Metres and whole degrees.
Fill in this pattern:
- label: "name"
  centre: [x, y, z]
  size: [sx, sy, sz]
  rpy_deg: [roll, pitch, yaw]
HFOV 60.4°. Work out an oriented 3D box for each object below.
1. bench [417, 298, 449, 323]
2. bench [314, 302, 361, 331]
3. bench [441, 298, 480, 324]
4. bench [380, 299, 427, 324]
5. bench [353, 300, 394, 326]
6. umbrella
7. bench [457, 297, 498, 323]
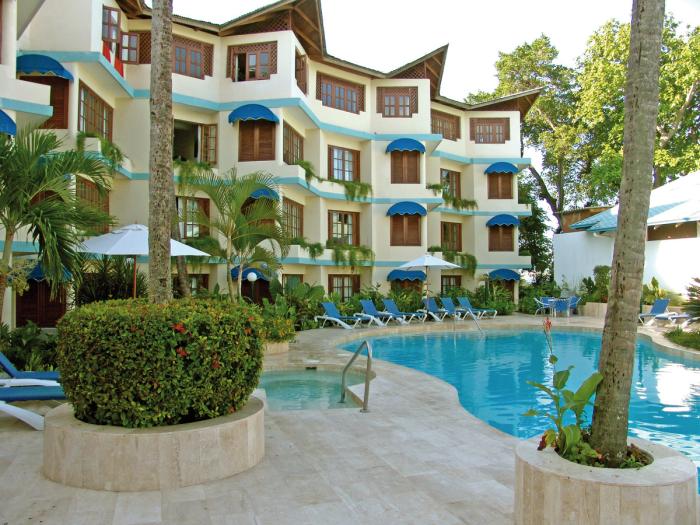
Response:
- label: "bench"
  centre: [3.475, 2.002, 25.213]
  size: [0.799, 0.868, 1.166]
  rpy_deg: [1, -2, -26]
- label: "bench"
  centre: [-0.573, 2.016, 22.083]
  size: [1.041, 0.721, 1.089]
  rpy_deg: [5, 0, 22]
- label: "bench"
  centre: [4.519, 2.017, 24.614]
  size: [1.607, 0.935, 0.917]
  rpy_deg: [-1, -1, 14]
- label: "bench"
  centre: [2.071, 2.001, 23.909]
  size: [1.607, 0.998, 0.879]
  rpy_deg: [-1, -2, 11]
- label: "bench"
  centre: [0.910, 2.002, 23.090]
  size: [0.973, 0.729, 1.098]
  rpy_deg: [3, -1, 34]
- label: "umbrella"
  centre: [-4.919, -0.030, 13.911]
  size: [1.936, 1.610, 1.953]
  rpy_deg: [-10, 7, -38]
- label: "bench"
  centre: [5.504, 2.175, 26.169]
  size: [1.868, 1.113, 1.081]
  rpy_deg: [1, 1, -7]
